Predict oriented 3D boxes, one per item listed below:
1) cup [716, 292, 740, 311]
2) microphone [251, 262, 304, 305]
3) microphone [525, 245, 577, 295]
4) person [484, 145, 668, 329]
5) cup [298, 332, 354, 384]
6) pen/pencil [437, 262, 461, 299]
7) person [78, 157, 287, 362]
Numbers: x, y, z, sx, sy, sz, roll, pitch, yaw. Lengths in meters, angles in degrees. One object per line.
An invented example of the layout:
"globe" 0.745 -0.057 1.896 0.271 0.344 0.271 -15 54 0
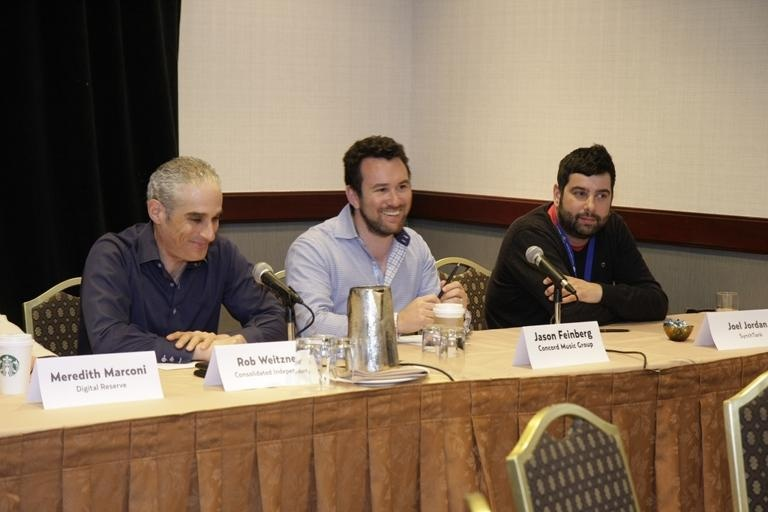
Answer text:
"cup" 1.672 0.220 3.008 0.091 0.115 0.095 0 1 0
"microphone" -0.447 0.128 2.621 0.069 0.072 0.228 -14 46 -42
"microphone" 0.799 0.076 2.987 0.073 0.254 0.069 -32 -19 -29
"person" 0.936 -0.057 3.572 0.755 1.435 1.039 0 -2 -20
"cup" -0.196 0.348 2.147 0.148 0.175 0.161 0 -3 0
"pen/pencil" 0.334 0.129 3.155 0.019 0.193 0.019 29 -2 -5
"person" -0.842 -0.019 2.883 0.774 1.109 0.894 -2 4 -42
